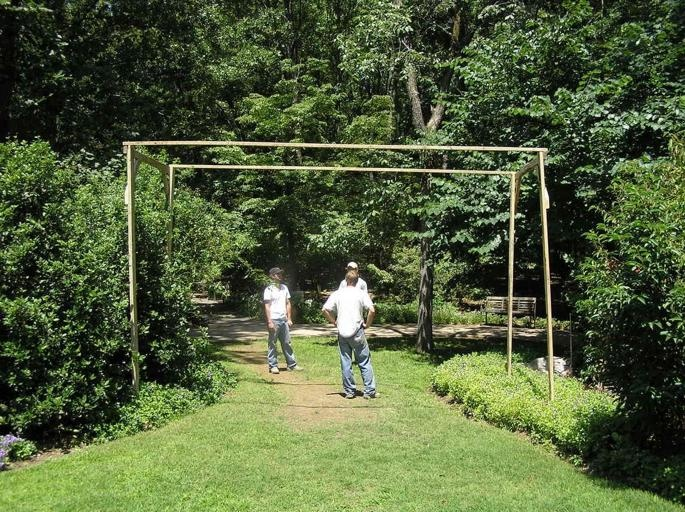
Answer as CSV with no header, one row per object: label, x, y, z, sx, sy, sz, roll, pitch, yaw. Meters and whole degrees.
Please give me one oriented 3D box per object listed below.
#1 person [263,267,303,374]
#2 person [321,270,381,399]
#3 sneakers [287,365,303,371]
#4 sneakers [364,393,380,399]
person,-1.354,1.409,16.139,0.680,2.290,1.470,-3,-4,-4
person,0.151,1.519,14.190,0.923,2.525,1.051,-3,-3,2
sneakers,-1.039,2.482,16.251,0.341,0.167,0.128,-3,2,1
sneakers,0.553,2.726,14.298,0.324,0.157,0.116,0,-3,-9
